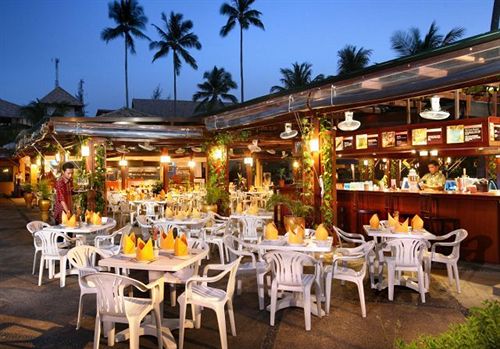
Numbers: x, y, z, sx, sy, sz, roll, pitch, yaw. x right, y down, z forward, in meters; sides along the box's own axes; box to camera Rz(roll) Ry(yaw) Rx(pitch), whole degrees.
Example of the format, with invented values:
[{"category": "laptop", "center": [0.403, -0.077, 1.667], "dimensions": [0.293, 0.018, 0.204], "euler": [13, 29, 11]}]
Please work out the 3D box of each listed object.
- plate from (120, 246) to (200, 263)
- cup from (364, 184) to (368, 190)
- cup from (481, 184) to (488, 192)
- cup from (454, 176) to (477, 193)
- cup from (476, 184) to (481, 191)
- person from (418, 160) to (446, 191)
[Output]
[{"category": "plate", "center": [-1.176, 1.092, 5.177], "dimensions": [1.117, 0.137, 0.640], "euler": [-1, 1, -8]}, {"category": "cup", "center": [3.067, 0.306, 9.862], "dimensions": [0.132, 0.151, 0.129], "euler": [-1, 4, 0]}, {"category": "cup", "center": [5.088, 0.272, 8.142], "dimensions": [0.167, 0.166, 0.161], "euler": [-1, 5, 0]}, {"category": "cup", "center": [5.098, 0.210, 8.749], "dimensions": [0.472, 0.350, 0.493], "euler": [1, -7, 0]}, {"category": "cup", "center": [4.995, 0.276, 8.165], "dimensions": [0.073, 0.155, 0.128], "euler": [-1, 2, -12]}, {"category": "person", "center": [4.934, 0.104, 10.215], "dimensions": [0.692, 1.014, 0.569], "euler": [4, 0, 40]}]
